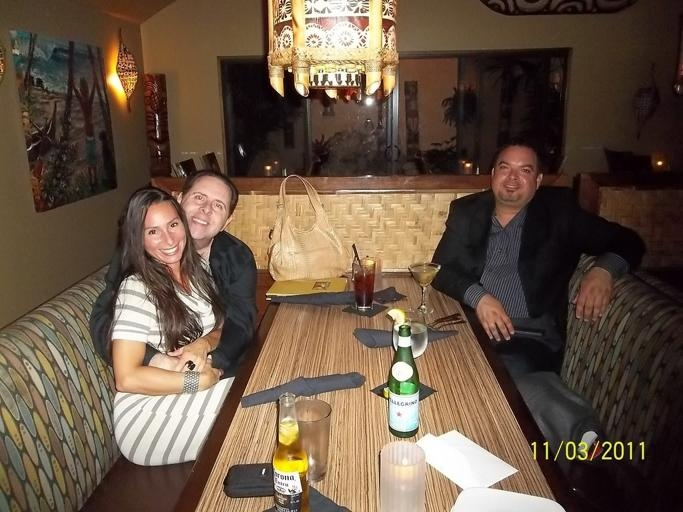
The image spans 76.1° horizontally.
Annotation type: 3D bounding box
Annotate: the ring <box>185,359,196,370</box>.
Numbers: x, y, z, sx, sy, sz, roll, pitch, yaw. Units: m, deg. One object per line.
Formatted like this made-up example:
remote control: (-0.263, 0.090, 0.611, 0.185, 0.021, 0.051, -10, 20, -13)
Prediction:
ring: (-0.618, 0.448, 1.788, 0.033, 0.034, 0.009, 19, -13, 4)

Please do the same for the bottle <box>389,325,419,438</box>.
bottle: (0.185, 0.336, 1.283, 0.093, 0.324, 0.199, 1, 18, 10)

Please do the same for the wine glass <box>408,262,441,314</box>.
wine glass: (0.394, 0.155, 2.177, 0.176, 0.285, 0.207, -2, 11, -2)

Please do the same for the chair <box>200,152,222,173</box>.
chair: (-1.753, -1.236, 5.906, 0.219, 0.277, 1.055, -7, 20, -13)

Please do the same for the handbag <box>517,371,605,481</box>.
handbag: (0.879, 0.658, 1.923, 0.258, 0.179, 0.510, -7, 44, -11)

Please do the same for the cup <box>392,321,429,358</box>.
cup: (0.239, 0.276, 1.617, 0.141, 0.170, 0.156, 3, 2, 5)

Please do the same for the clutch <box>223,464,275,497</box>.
clutch: (-0.233, 0.568, 1.109, 0.127, 0.032, 0.081, -3, 19, -1)

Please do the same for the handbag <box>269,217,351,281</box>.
handbag: (-0.188, -0.125, 2.744, 0.523, 0.574, 0.307, -2, 6, -6)
